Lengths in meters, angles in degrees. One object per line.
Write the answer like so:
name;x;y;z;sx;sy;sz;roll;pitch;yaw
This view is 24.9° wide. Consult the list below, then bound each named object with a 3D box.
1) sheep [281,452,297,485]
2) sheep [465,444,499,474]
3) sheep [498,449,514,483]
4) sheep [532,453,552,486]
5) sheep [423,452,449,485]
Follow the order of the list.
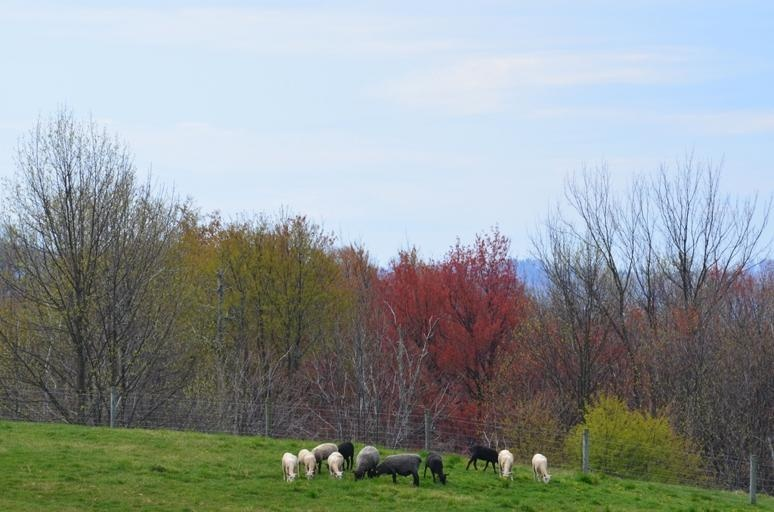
sheep;-5.242;11.462;96.066;0.871;1.671;0.727;3;-11;-4
sheep;5.424;11.298;98.738;1.731;1.602;2.039;2;-13;1
sheep;6.673;11.458;97.475;0.831;1.641;0.874;2;-11;2
sheep;8.726;11.730;97.797;0.954;1.653;0.971;1;-11;6
sheep;2.765;11.662;97.073;1.259;1.821;1.533;2;-12;0
